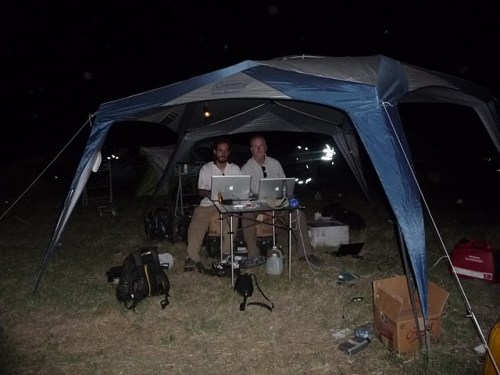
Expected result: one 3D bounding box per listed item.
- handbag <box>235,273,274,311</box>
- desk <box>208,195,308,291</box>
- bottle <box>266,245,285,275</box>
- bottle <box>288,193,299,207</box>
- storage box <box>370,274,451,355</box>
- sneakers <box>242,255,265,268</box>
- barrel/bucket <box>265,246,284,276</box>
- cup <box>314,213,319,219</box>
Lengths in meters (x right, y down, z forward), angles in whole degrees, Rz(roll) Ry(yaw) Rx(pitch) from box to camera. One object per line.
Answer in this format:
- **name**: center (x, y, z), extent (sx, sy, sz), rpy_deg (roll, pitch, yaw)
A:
- **handbag**: center (0.051, 1.568, 5.758), extent (0.502, 0.392, 0.216), rpy_deg (13, -46, -1)
- **desk**: center (-0.111, 0.628, 5.833), extent (1.526, 1.105, 1.320), rpy_deg (-1, -26, 32)
- **bottle**: center (0.401, 1.203, 6.359), extent (0.376, 0.721, 0.371), rpy_deg (0, -7, 0)
- **bottle**: center (0.690, 0.204, 6.144), extent (0.121, 0.183, 0.170), rpy_deg (-2, -6, 0)
- **storage box**: center (1.973, 1.571, 5.207), extent (0.919, 0.997, 0.766), rpy_deg (-2, 4, -17)
- **sneakers**: center (0.041, 1.256, 6.625), extent (0.294, 0.105, 0.188), rpy_deg (-5, -4, -22)
- **barrel/bucket**: center (0.406, 1.203, 6.354), extent (0.376, 0.721, 0.371), rpy_deg (0, -7, 0)
- **cup**: center (1.382, 0.595, 8.047), extent (0.099, 0.115, 0.104), rpy_deg (0, -2, 0)
